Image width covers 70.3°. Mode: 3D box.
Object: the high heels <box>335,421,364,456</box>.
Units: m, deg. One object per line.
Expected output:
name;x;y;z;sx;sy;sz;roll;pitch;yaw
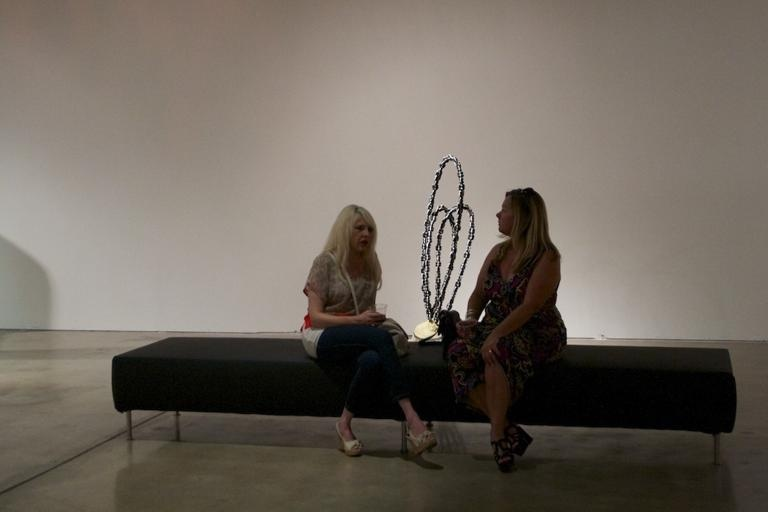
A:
high heels;-0.226;1.096;3.211;0.102;0.075;0.246;6;28;-38

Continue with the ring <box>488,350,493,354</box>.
ring;0.593;0.538;3.050;0.018;0.017;0.004;11;-7;25

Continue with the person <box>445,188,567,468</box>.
person;0.708;0.392;3.160;0.637;1.563;0.532;3;7;21

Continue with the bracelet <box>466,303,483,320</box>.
bracelet;0.574;0.355;3.409;0.103;0.078;0.030;-9;6;-13

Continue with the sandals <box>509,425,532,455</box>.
sandals;0.757;1.028;3.069;0.079;0.237;0.092;-27;25;-22

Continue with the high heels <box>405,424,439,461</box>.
high heels;0.197;1.079;3.133;0.105;0.114;0.289;-8;-16;-27

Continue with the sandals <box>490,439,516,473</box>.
sandals;0.660;1.097;2.999;0.084;0.088;0.230;-1;15;4
